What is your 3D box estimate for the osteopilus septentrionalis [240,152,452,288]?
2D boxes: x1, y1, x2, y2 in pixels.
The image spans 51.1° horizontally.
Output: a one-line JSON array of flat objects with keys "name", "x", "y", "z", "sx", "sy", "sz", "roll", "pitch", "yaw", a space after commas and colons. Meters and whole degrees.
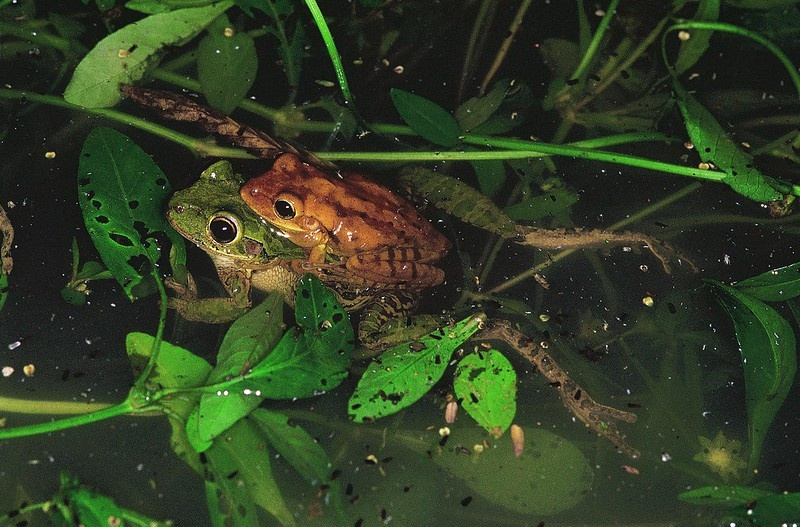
[{"name": "osteopilus septentrionalis", "x": -0.202, "y": -0.149, "z": 3.381, "sx": 0.673, "sy": 0.229, "sz": 0.507, "roll": 12, "pitch": 38, "yaw": -14}]
